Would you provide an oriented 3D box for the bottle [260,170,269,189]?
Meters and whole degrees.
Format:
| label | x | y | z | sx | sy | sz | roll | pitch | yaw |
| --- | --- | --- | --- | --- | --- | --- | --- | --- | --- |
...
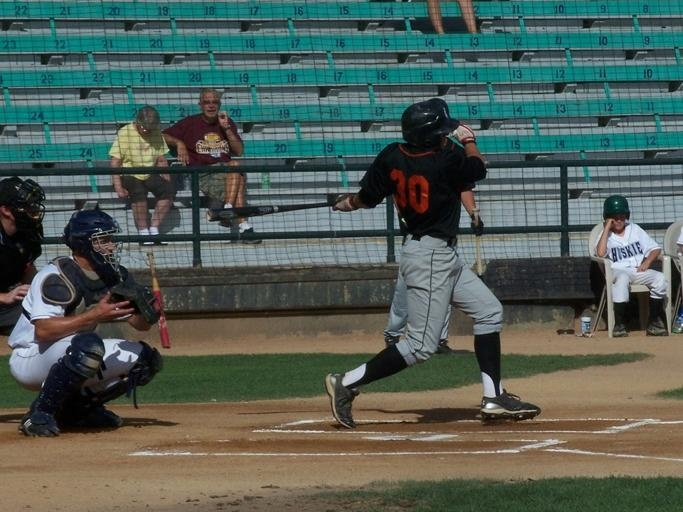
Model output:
| label | x | y | z | sx | sy | sz | roll | pitch | yaw |
| --- | --- | --- | --- | --- | --- | --- | --- | --- | --- |
| bottle | -1.100 | -1.049 | 29.228 | 0.098 | 0.214 | 0.211 | -1 | 3 | 28 |

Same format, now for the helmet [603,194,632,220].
| label | x | y | z | sx | sy | sz | roll | pitch | yaw |
| --- | --- | --- | --- | --- | --- | --- | --- | --- | --- |
| helmet | 3.943 | -0.666 | 28.822 | 0.294 | 0.296 | 0.377 | 1 | 17 | 10 |

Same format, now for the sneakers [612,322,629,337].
| label | x | y | z | sx | sy | sz | roll | pitch | yaw |
| --- | --- | --- | --- | --- | --- | --- | --- | --- | --- |
| sneakers | 3.993 | 1.067 | 28.510 | 0.166 | 0.201 | 0.356 | 0 | 3 | 40 |

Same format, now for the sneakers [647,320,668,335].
| label | x | y | z | sx | sy | sz | roll | pitch | yaw |
| --- | --- | --- | --- | --- | --- | --- | --- | --- | --- |
| sneakers | 4.498 | 1.030 | 28.511 | 0.282 | 0.234 | 0.230 | -2 | 2 | -6 |

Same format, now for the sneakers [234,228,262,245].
| label | x | y | z | sx | sy | sz | roll | pitch | yaw |
| --- | --- | --- | --- | --- | --- | --- | --- | --- | --- |
| sneakers | -1.374 | -0.230 | 29.106 | 0.513 | 0.276 | 0.166 | 0 | 10 | -5 |

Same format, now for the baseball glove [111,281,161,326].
| label | x | y | z | sx | sy | sz | roll | pitch | yaw |
| --- | --- | --- | --- | --- | --- | --- | --- | --- | --- |
| baseball glove | -2.344 | 0.604 | 23.754 | 0.645 | 0.563 | 0.365 | -9 | -23 | 23 |
